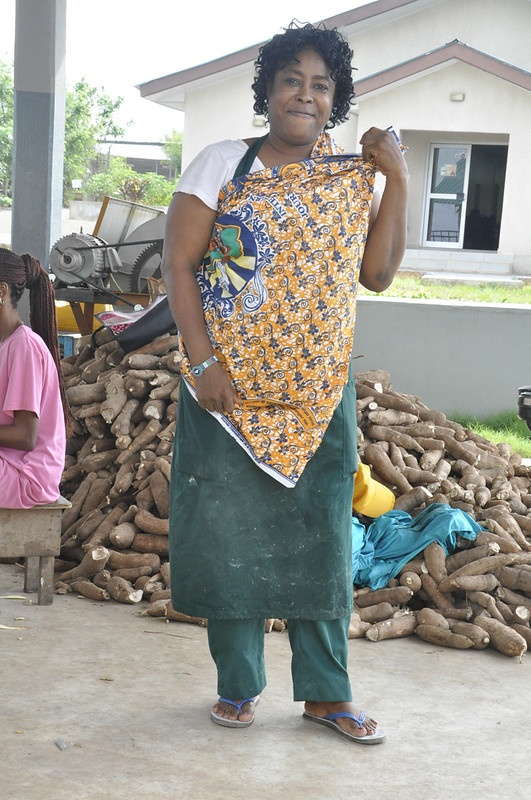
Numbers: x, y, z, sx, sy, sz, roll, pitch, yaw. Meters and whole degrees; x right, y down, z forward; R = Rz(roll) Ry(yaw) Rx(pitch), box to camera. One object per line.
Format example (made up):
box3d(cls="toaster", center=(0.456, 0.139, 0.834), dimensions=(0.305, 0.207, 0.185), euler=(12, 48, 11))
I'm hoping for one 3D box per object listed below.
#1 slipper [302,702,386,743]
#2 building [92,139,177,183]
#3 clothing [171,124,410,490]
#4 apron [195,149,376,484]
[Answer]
box3d(cls="slipper", center=(0.235, 0.960, 2.320), dimensions=(0.222, 0.078, 0.096), euler=(6, 16, 26))
box3d(cls="building", center=(-10.044, -20.038, 61.456), dimensions=(8.151, 1.783, 4.873), euler=(6, 42, -9))
box3d(cls="clothing", center=(0.040, -0.227, 1.934), dimensions=(0.548, 0.754, 0.206), euler=(11, 0, 17))
box3d(cls="apron", center=(0.029, -0.206, 1.993), dimensions=(0.484, 0.723, 0.196), euler=(-15, 26, -30))
